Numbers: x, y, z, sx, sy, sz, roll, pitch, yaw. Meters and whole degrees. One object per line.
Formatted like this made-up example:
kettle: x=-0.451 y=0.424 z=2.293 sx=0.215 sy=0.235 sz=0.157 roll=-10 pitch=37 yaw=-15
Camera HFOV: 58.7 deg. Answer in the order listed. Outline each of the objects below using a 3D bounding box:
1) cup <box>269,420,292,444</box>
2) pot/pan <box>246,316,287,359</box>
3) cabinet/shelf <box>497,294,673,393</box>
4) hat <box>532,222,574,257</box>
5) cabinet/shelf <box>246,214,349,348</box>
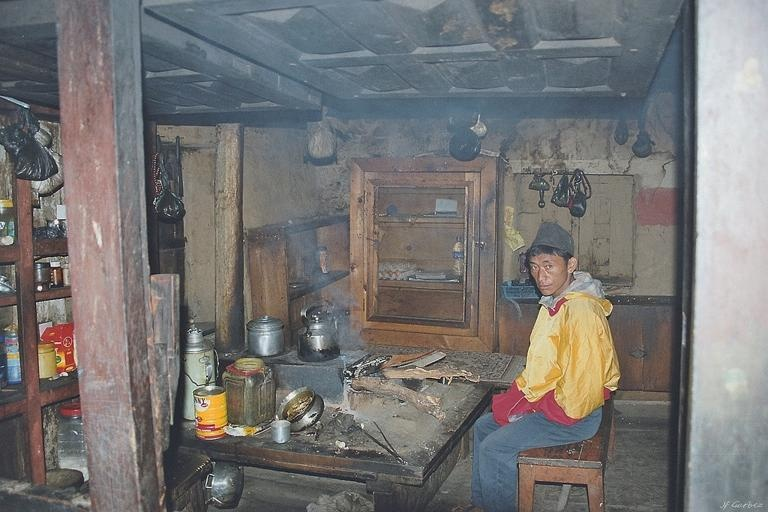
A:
cup: x=-0.774 y=1.323 z=5.183 sx=0.160 sy=0.110 sz=0.144 roll=-4 pitch=10 yaw=-31
pot/pan: x=-1.079 y=0.750 z=6.322 sx=0.379 sy=0.325 sz=0.363 roll=-1 pitch=0 yaw=-34
cabinet/shelf: x=1.945 y=0.809 z=6.230 sx=1.315 sy=0.689 sz=0.396 roll=1 pitch=5 yaw=11
hat: x=1.337 y=-0.127 z=5.374 sx=0.233 sy=0.154 sz=0.324 roll=-2 pitch=-13 yaw=42
cabinet/shelf: x=-0.942 y=0.289 z=7.164 sx=0.292 sy=0.884 sz=1.592 roll=-1 pitch=4 yaw=8
